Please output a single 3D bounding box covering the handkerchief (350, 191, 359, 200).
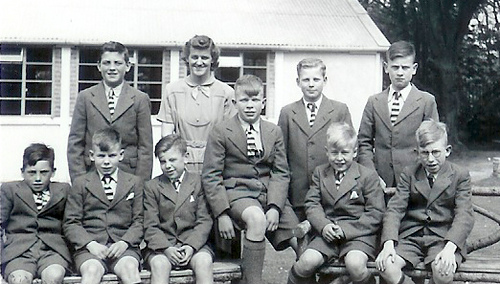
[{"bbox_3d":[2.057,1.051,15.272,0.149,0.156,0.037,0,3,3],"label":"handkerchief"}]

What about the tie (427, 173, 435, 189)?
[{"bbox_3d":[3.540,0.744,15.105,0.188,0.258,0.078,-2,-9,14],"label":"tie"}]

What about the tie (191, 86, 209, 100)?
[{"bbox_3d":[-1.030,-1.072,15.854,0.312,0.248,0.075,-2,-18,-2],"label":"tie"}]

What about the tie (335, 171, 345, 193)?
[{"bbox_3d":[1.773,0.752,15.285,0.098,0.472,0.121,12,-11,12],"label":"tie"}]

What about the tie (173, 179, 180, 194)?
[{"bbox_3d":[-1.449,0.859,15.255,0.157,0.228,0.058,-6,-9,-7],"label":"tie"}]

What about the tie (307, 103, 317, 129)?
[{"bbox_3d":[1.278,-0.599,15.719,0.264,0.383,0.109,-8,-10,35],"label":"tie"}]
